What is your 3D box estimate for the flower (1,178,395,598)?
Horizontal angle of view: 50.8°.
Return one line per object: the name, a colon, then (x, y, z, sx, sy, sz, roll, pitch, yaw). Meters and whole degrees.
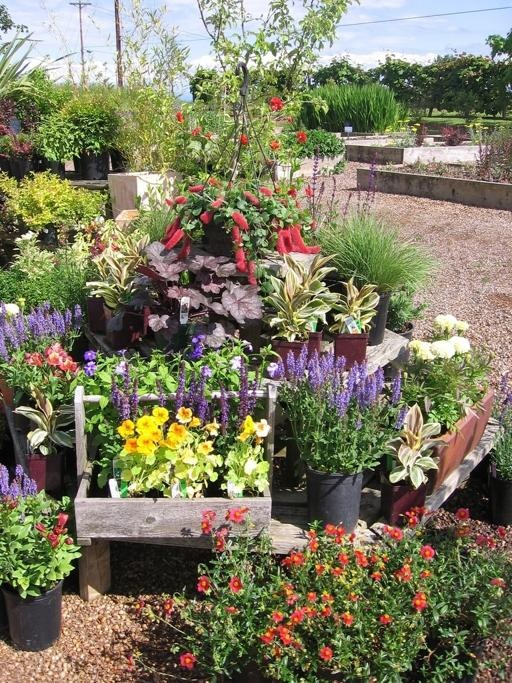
flower: (-0.248, 0.246, 2.432, 1.120, 0.859, 1.423, -1, 24, 5)
